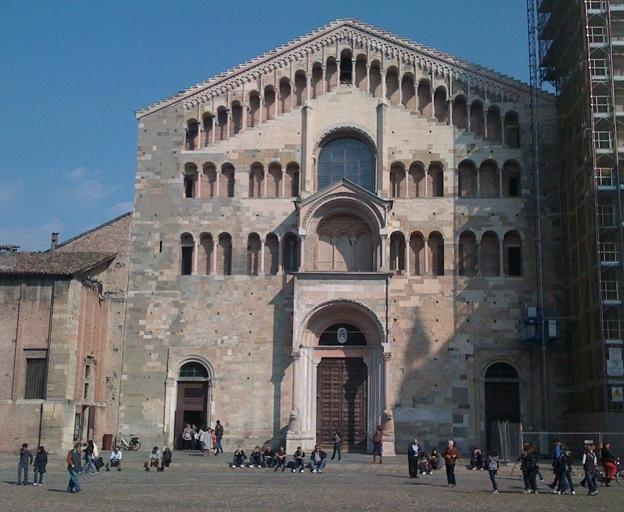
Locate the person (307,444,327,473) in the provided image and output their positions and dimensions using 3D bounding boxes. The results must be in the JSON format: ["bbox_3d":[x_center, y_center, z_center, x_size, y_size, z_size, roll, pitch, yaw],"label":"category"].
[{"bbox_3d":[0.354,11.508,61.619,0.865,1.627,1.585,1,-15,0],"label":"person"}]

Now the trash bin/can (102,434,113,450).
[{"bbox_3d":[-13.090,11.988,70.208,0.785,1.367,0.865,2,-1,-5],"label":"trash bin/can"}]

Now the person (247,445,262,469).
[{"bbox_3d":[-3.198,12.046,63.855,0.696,1.117,1.021,2,-32,-1],"label":"person"}]

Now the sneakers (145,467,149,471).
[{"bbox_3d":[-9.251,12.062,61.672,0.248,0.251,0.138,1,3,5],"label":"sneakers"}]

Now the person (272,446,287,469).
[{"bbox_3d":[-1.840,11.729,63.185,0.749,1.595,0.917,1,-50,1],"label":"person"}]

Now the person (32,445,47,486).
[{"bbox_3d":[-13.738,10.673,55.357,0.523,1.970,0.941,4,-15,-12],"label":"person"}]

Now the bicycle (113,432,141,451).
[{"bbox_3d":[-11.728,11.980,69.740,1.561,0.996,0.807,7,-41,3],"label":"bicycle"}]

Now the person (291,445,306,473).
[{"bbox_3d":[-0.699,11.558,61.657,0.667,1.433,1.102,2,-15,-2],"label":"person"}]

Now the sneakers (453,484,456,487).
[{"bbox_3d":[7.266,11.659,55.416,0.131,0.185,0.063,1,-12,18],"label":"sneakers"}]
